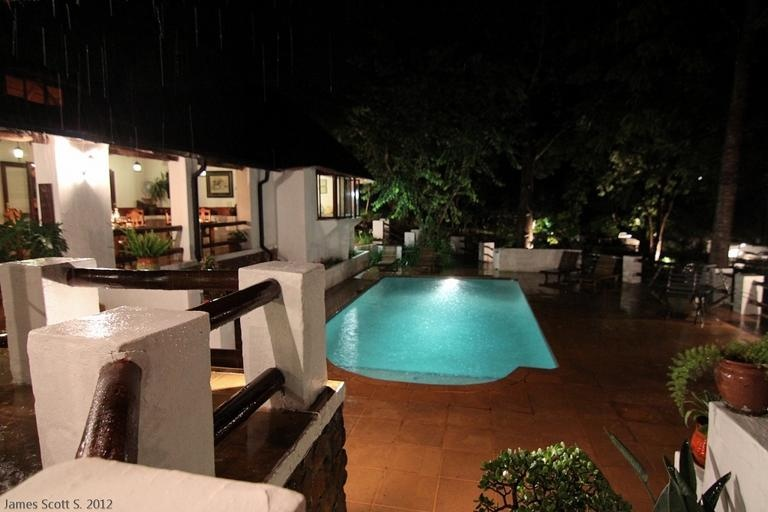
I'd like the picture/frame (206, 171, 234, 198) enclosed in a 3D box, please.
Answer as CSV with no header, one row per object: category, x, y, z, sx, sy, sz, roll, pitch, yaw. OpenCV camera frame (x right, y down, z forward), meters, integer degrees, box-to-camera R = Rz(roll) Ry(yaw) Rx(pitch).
picture/frame,-5.211,-2.281,15.530,0.843,0.764,0.062,3,17,-1

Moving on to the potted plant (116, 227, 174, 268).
potted plant,-4.987,-0.120,10.172,1.205,0.819,1.192,0,-2,-23
